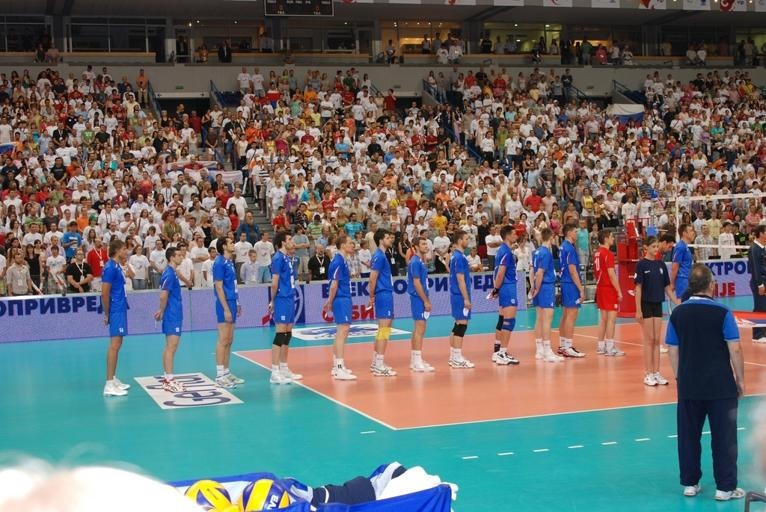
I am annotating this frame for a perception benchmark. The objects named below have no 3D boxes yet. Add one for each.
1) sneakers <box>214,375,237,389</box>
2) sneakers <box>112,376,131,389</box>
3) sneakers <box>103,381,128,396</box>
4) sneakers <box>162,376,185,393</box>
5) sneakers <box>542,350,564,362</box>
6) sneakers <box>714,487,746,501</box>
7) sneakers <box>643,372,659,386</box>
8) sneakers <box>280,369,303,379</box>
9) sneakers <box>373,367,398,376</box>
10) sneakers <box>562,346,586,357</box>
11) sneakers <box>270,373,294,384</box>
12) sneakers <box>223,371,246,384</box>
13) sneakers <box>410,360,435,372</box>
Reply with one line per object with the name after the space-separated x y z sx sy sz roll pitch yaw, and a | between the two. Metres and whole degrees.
-3.503 2.794 20.406 0.454 0.227 0.213 3 4 8 | sneakers
-5.822 2.810 20.211 0.532 0.248 0.205 11 11 29 | sneakers
-5.840 2.864 19.999 0.408 0.220 0.287 1 4 -3 | sneakers
-4.619 2.791 20.176 0.574 0.309 0.247 5 8 27 | sneakers
4.055 2.372 21.932 0.408 0.221 0.229 -1 2 -2 | sneakers
5.978 4.079 15.807 0.460 0.244 0.209 -7 4 -14 | sneakers
5.798 2.654 19.875 0.291 0.236 0.196 4 15 21 | sneakers
-2.086 2.656 20.839 0.523 0.263 0.193 0 4 -15 | sneakers
0.048 2.628 21.140 0.576 0.310 0.221 -1 1 -6 | sneakers
4.591 2.314 22.179 0.557 0.273 0.239 1 2 2 | sneakers
-2.318 2.749 20.564 0.386 0.207 0.204 0 4 -4 | sneakers
-3.320 2.710 20.551 0.484 0.247 0.191 4 5 9 | sneakers
0.893 2.554 21.335 0.523 0.263 0.219 1 0 -3 | sneakers
